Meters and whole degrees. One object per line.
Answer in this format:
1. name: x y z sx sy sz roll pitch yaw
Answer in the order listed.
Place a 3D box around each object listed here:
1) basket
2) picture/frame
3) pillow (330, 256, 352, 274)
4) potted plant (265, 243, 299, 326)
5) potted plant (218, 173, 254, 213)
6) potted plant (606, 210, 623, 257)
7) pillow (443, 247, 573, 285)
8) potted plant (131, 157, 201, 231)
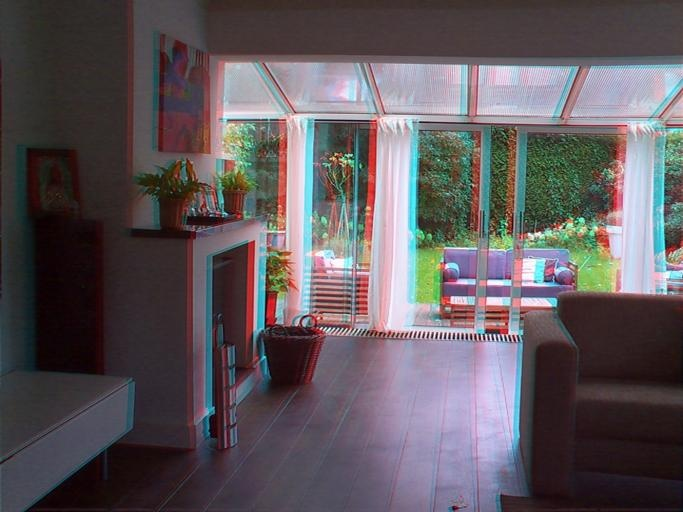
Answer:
1. basket: -0.305 0.574 3.245 0.424 0.393 0.400 5 -8 -12
2. picture/frame: -0.839 -0.220 1.518 0.184 0.256 0.030 -2 10 -24
3. pillow: -0.010 0.079 4.377 0.156 0.128 0.049 1 1 9
4. potted plant: -0.483 0.219 4.137 0.235 0.571 0.492 0 4 -5
5. potted plant: -0.627 -0.364 3.049 0.213 0.283 0.207 -1 5 -14
6. potted plant: 2.123 -0.184 4.069 0.125 0.402 0.128 6 -21 9
7. pillow: 1.296 0.067 4.203 0.965 0.284 0.145 2 4 16
8. potted plant: -0.763 -0.254 2.352 0.246 0.247 0.250 -2 0 42
